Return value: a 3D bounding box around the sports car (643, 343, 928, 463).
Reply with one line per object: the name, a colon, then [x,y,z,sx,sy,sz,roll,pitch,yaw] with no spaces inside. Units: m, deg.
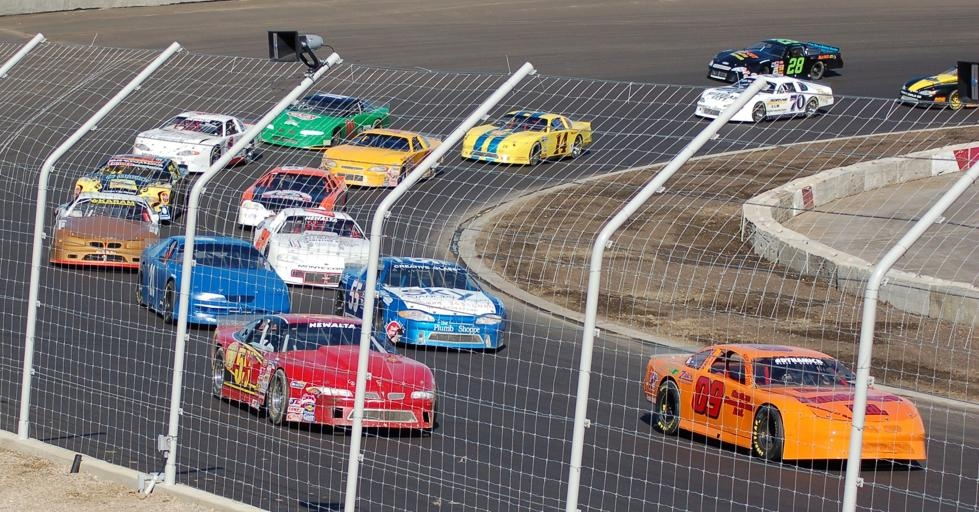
sports car: [5.875,2.851,36.010,3.623,1.706,5.707,-1,5,-33]
